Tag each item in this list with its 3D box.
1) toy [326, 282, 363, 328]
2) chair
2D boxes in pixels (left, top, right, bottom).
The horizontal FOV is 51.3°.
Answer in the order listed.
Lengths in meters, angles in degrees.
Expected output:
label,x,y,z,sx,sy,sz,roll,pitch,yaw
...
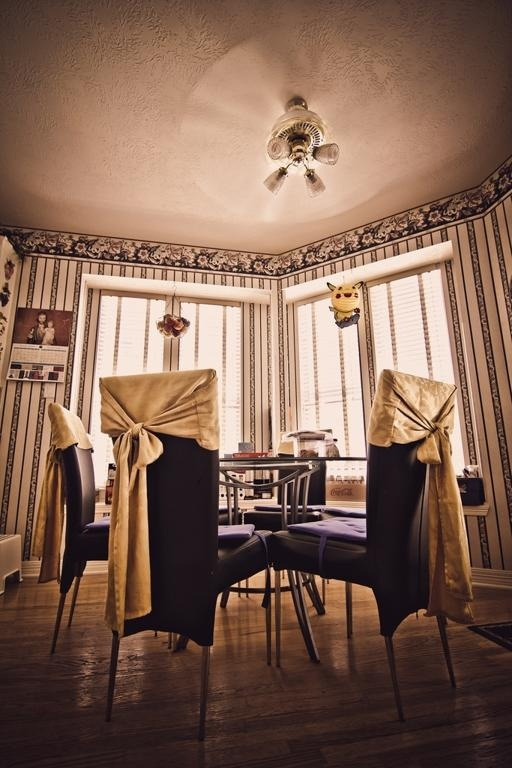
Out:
label,x,y,z,sx,sy,sz,roll,pitch,yaw
toy,0.638,-0.553,3.865,0.199,0.290,0.400,-1,-6,8
chair,0.042,0.413,1.738,1.078,0.838,1.065,3,-6,-41
